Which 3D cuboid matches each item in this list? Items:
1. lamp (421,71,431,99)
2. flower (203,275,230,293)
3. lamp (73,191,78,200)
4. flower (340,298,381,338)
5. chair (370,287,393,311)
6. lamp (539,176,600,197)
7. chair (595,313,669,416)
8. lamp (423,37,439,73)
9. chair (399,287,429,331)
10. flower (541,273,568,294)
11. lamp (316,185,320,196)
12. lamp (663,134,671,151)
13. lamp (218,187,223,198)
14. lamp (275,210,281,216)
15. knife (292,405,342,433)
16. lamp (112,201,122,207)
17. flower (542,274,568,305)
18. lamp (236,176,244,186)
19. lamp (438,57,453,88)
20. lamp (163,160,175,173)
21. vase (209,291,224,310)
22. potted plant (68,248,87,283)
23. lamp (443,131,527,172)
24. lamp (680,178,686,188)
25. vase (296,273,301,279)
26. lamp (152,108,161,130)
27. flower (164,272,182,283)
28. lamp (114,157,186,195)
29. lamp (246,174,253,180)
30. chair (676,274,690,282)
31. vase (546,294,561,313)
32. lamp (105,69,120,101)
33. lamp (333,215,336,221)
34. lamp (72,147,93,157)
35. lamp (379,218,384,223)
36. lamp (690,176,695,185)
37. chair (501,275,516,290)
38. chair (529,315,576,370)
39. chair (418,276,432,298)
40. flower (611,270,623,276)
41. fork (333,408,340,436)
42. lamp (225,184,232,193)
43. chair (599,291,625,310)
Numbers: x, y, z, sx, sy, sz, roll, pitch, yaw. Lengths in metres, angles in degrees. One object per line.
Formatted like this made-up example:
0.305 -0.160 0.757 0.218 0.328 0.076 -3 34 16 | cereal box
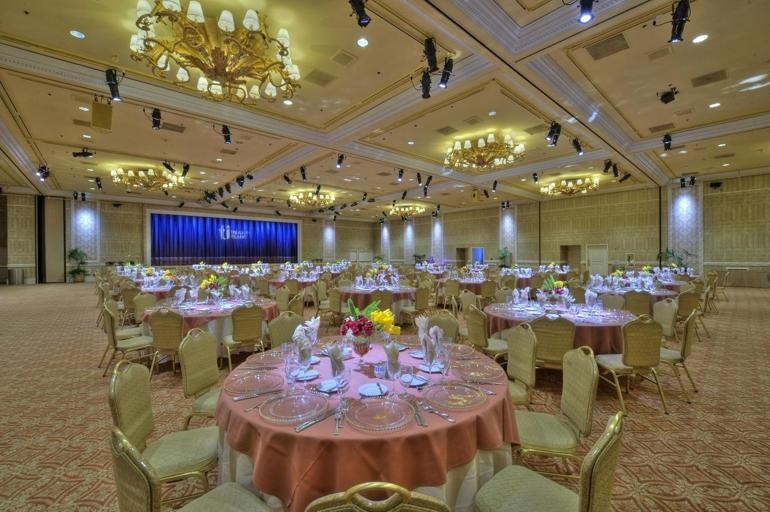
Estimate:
0.782 -3.262 8.886 0.174 0.521 0.364 -2 0 11 | lamp
-3.164 0.519 8.747 0.389 0.225 0.393 1 3 4 | flower
-12.522 -2.443 19.114 0.191 0.347 0.683 -1 -1 -32 | lamp
-0.333 0.801 6.091 0.423 0.383 0.545 3 -4 6 | flower
-0.028 0.909 9.872 0.459 0.472 0.456 -1 1 9 | chair
6.142 -2.398 15.832 0.969 0.615 1.917 -1 -1 -30 | lamp
3.798 1.613 7.212 0.917 1.372 1.104 -2 -1 28 | chair
0.821 -3.562 8.257 0.285 0.550 0.344 -16 26 -19 | lamp
0.603 1.187 10.688 0.710 0.893 0.920 -1 -1 -35 | chair
3.339 0.554 9.309 0.315 0.316 0.298 -2 -45 20 | flower
-2.405 -2.455 17.161 0.142 0.355 0.785 -2 -1 -10 | lamp
7.092 -2.849 11.802 0.196 0.373 0.959 -2 -1 31 | lamp
-6.422 -2.513 18.543 0.329 0.319 0.081 9 28 41 | lamp
-5.604 -2.291 24.834 0.331 0.268 0.619 -1 -1 -8 | lamp
-0.752 1.824 5.223 0.687 0.050 0.178 -21 42 -31 | knife
-11.481 -2.247 20.160 0.373 0.269 0.135 -1 2 -29 | lamp
3.082 0.622 8.544 0.419 0.489 0.445 -12 -12 37 | flower
-5.054 -2.623 16.485 0.274 0.266 0.073 -3 40 26 | lamp
1.163 -3.410 8.733 0.244 0.551 0.646 -2 -1 9 | lamp
-6.315 -2.629 13.761 0.128 0.242 0.473 44 -11 -5 | lamp
-3.001 0.778 8.442 0.177 0.331 0.369 -2 -1 -18 | vase
-12.767 0.372 19.528 0.637 1.511 0.607 -2 0 -33 | potted plant
2.569 -2.707 12.061 1.858 0.883 1.250 -2 -1 6 | lamp
9.968 -2.451 15.676 0.133 0.277 0.529 -2 -1 32 | lamp
-2.514 0.597 13.640 0.143 0.136 0.143 -2 -7 5 | vase
-4.932 -2.941 10.185 0.205 0.452 0.835 -2 -1 -25 | lamp
-5.556 0.572 12.249 0.501 0.192 0.491 2 5 -4 | flower
-7.338 -2.521 14.926 1.493 0.412 1.504 1 2 16 | lamp
-4.463 -2.639 15.608 0.191 0.077 0.184 28 -17 -32 | lamp
8.230 0.607 12.882 0.304 0.190 0.223 0 -6 -3 | chair
2.838 0.810 7.850 0.278 0.290 0.280 -5 -6 40 | vase
-5.181 -3.279 8.971 0.243 0.647 0.672 -2 -1 -30 | lamp
-2.814 -2.144 26.521 0.072 0.309 0.217 21 36 35 | lamp
-8.112 -2.778 12.694 0.409 0.259 0.406 2 2 19 | lamp
-0.151 -2.061 27.720 0.198 0.351 0.362 -8 7 -43 | lamp
10.269 -2.507 15.658 0.151 0.288 0.545 -2 -1 34 | lamp
3.352 0.721 12.717 0.316 0.322 0.324 -6 8 2 | chair
2.577 1.278 7.367 0.706 1.164 0.835 2 4 23 | chair
1.171 0.766 12.937 0.355 0.618 0.380 0 -8 12 | chair
6.636 0.474 13.424 0.184 0.157 0.190 -3 -2 41 | flower
-0.510 1.838 5.181 0.065 0.210 0.087 -2 -22 10 | fork
-5.849 -2.551 17.593 0.228 0.078 0.310 9 -34 5 | lamp
4.226 0.824 8.871 0.385 0.471 0.339 4 1 -45 | chair
